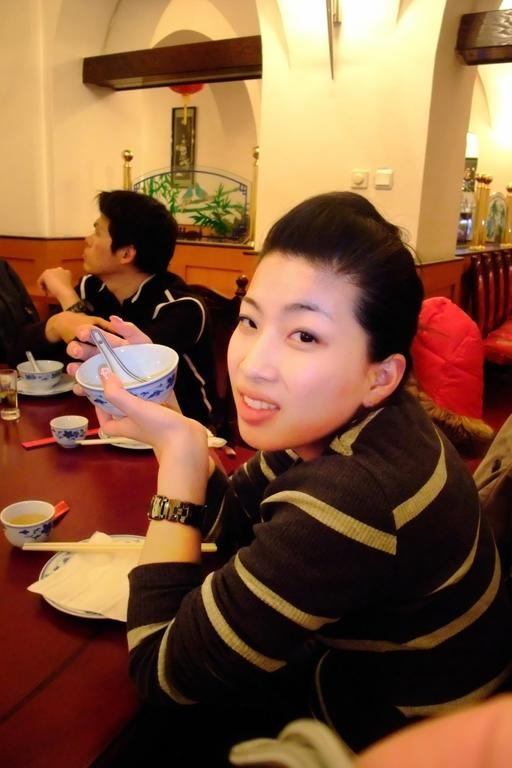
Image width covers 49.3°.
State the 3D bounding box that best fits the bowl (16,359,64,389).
[{"bbox_3d":[-0.659,-0.027,1.717,0.108,0.065,0.110,-1,2,0],"label":"bowl"}]

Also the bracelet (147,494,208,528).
[{"bbox_3d":[-0.104,0.175,0.769,0.067,0.039,0.069,7,-16,11],"label":"bracelet"}]

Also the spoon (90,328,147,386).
[{"bbox_3d":[-0.267,-0.051,1.087,0.038,0.138,0.019,-36,17,-29],"label":"spoon"}]

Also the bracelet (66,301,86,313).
[{"bbox_3d":[-0.675,-0.290,2.097,0.057,0.018,0.061,-21,13,35],"label":"bracelet"}]

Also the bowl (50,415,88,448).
[{"bbox_3d":[-0.435,0.105,1.317,0.076,0.056,0.079,1,6,0],"label":"bowl"}]

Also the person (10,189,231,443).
[{"bbox_3d":[-0.532,-0.161,2.255,0.764,1.190,0.622,-21,41,-28],"label":"person"}]

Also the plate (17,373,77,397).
[{"bbox_3d":[-0.647,0.016,1.696,0.106,0.022,0.107,7,16,17],"label":"plate"}]
